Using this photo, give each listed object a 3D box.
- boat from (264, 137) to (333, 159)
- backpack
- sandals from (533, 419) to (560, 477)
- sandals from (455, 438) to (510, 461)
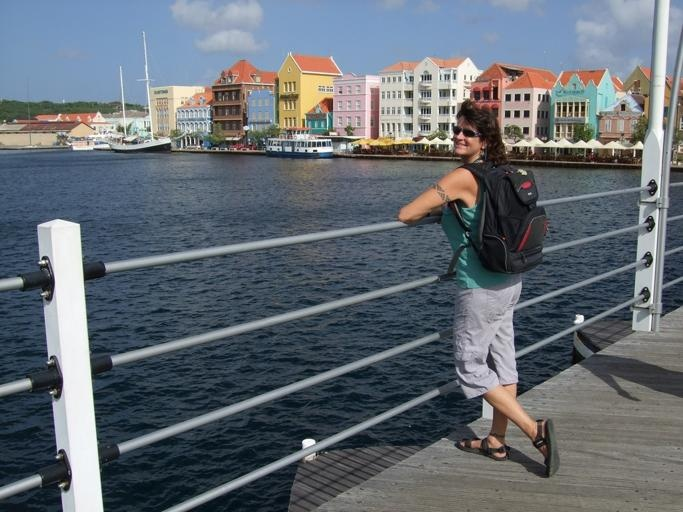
[{"bbox_3d":[-6.715,-16.967,99.681,10.383,2.542,4.437,5,10,37],"label":"boat"},{"bbox_3d":[0.836,-0.202,3.445,0.486,0.635,0.295,-7,8,13],"label":"backpack"},{"bbox_3d":[1.164,1.087,3.659,0.161,0.326,0.134,-8,12,16],"label":"sandals"},{"bbox_3d":[0.863,1.173,3.933,0.285,0.088,0.122,2,1,41],"label":"sandals"}]
